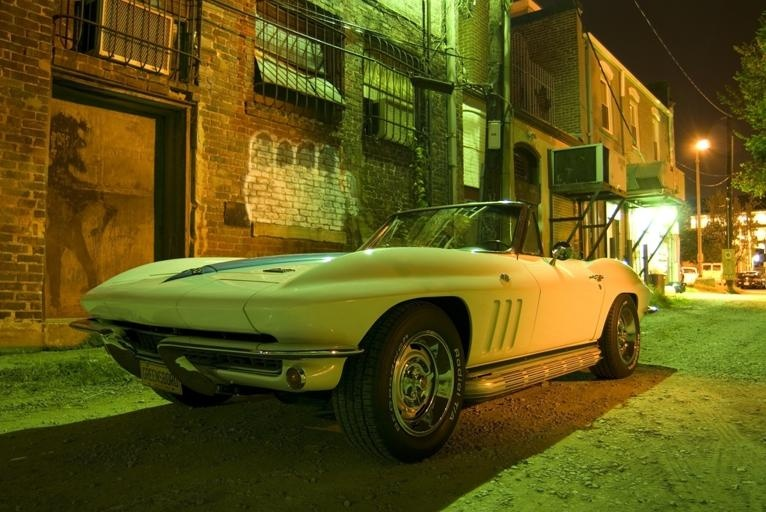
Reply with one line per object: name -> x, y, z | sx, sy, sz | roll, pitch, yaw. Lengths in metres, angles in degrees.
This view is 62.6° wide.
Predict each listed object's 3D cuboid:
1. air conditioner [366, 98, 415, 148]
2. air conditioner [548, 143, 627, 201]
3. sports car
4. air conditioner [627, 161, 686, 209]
air conditioner -> 0.078, -2.835, 13.345 | 0.439, 0.966, 1.314 | 6, 9, 38
air conditioner -> 5.816, -2.441, 18.272 | 1.465, 1.262, 2.828 | -1, -1, 30
sports car -> 0.395, 0.512, 6.432 | 6.223, 2.101, 2.368 | -5, 9, -33
air conditioner -> 9.515, -2.409, 22.187 | 1.251, 0.899, 3.957 | -1, -4, 32
